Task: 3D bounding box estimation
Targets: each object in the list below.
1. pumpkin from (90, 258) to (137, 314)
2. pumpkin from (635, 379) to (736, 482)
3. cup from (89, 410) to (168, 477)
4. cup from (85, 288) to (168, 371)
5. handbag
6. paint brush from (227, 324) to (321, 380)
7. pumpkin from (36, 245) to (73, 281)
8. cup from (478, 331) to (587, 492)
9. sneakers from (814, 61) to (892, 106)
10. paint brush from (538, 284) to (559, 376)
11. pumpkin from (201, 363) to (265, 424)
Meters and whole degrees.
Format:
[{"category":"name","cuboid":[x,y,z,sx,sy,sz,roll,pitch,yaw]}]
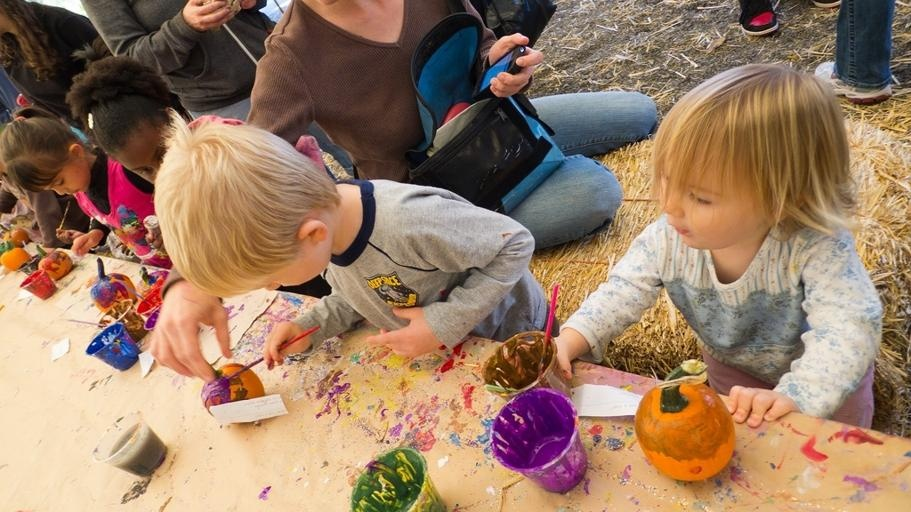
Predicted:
[{"category":"pumpkin","cuboid":[-1.890,0.173,3.824,0.240,0.371,0.191,1,0,2]},{"category":"pumpkin","cuboid":[0.885,0.672,2.633,0.354,0.309,0.231,-8,34,12]},{"category":"cup","cuboid":[-1.466,0.872,3.175,0.278,0.207,0.282,-19,35,14]},{"category":"cup","cuboid":[-1.742,0.382,3.541,0.284,0.440,0.258,2,3,31]},{"category":"handbag","cuboid":[0.129,-0.763,3.966,0.727,1.061,0.766,3,4,-3]},{"category":"paint brush","cuboid":[-0.854,0.468,3.240,0.415,0.055,0.064,-31,-6,-17]},{"category":"pumpkin","cuboid":[-2.447,0.060,4.203,0.197,0.199,0.197,-36,15,-32]},{"category":"cup","cuboid":[0.316,0.644,2.802,0.358,0.443,0.494,-12,33,6]},{"category":"sneakers","cuboid":[2.359,-1.054,4.076,0.234,0.188,0.458,-27,35,-17]},{"category":"paint brush","cuboid":[0.420,0.348,3.094,0.076,0.380,0.057,2,-16,45]},{"category":"pumpkin","cuboid":[-1.013,0.613,3.128,0.189,0.263,0.240,3,2,-2]}]
